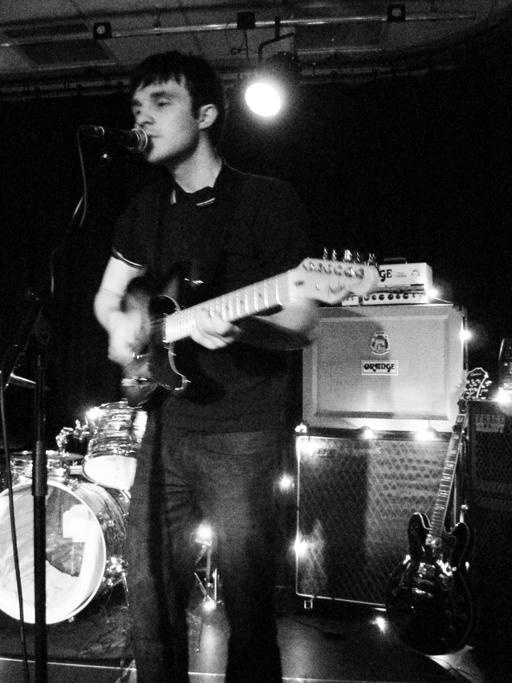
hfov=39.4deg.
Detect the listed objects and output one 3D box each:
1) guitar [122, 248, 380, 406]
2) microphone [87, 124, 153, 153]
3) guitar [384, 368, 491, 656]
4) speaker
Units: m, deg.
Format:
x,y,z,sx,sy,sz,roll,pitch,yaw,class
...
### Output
x,y,z,sx,sy,sz,roll,pitch,yaw,class
-0.068,-0.022,1.669,0.699,0.307,0.203,2,0,41,guitar
-0.340,-0.500,1.821,0.060,0.063,0.199,-22,-2,30,microphone
0.693,0.650,2.746,0.351,1.060,0.470,2,0,19,guitar
0.518,0.747,2.950,0.689,0.881,0.294,1,-8,20,speaker
